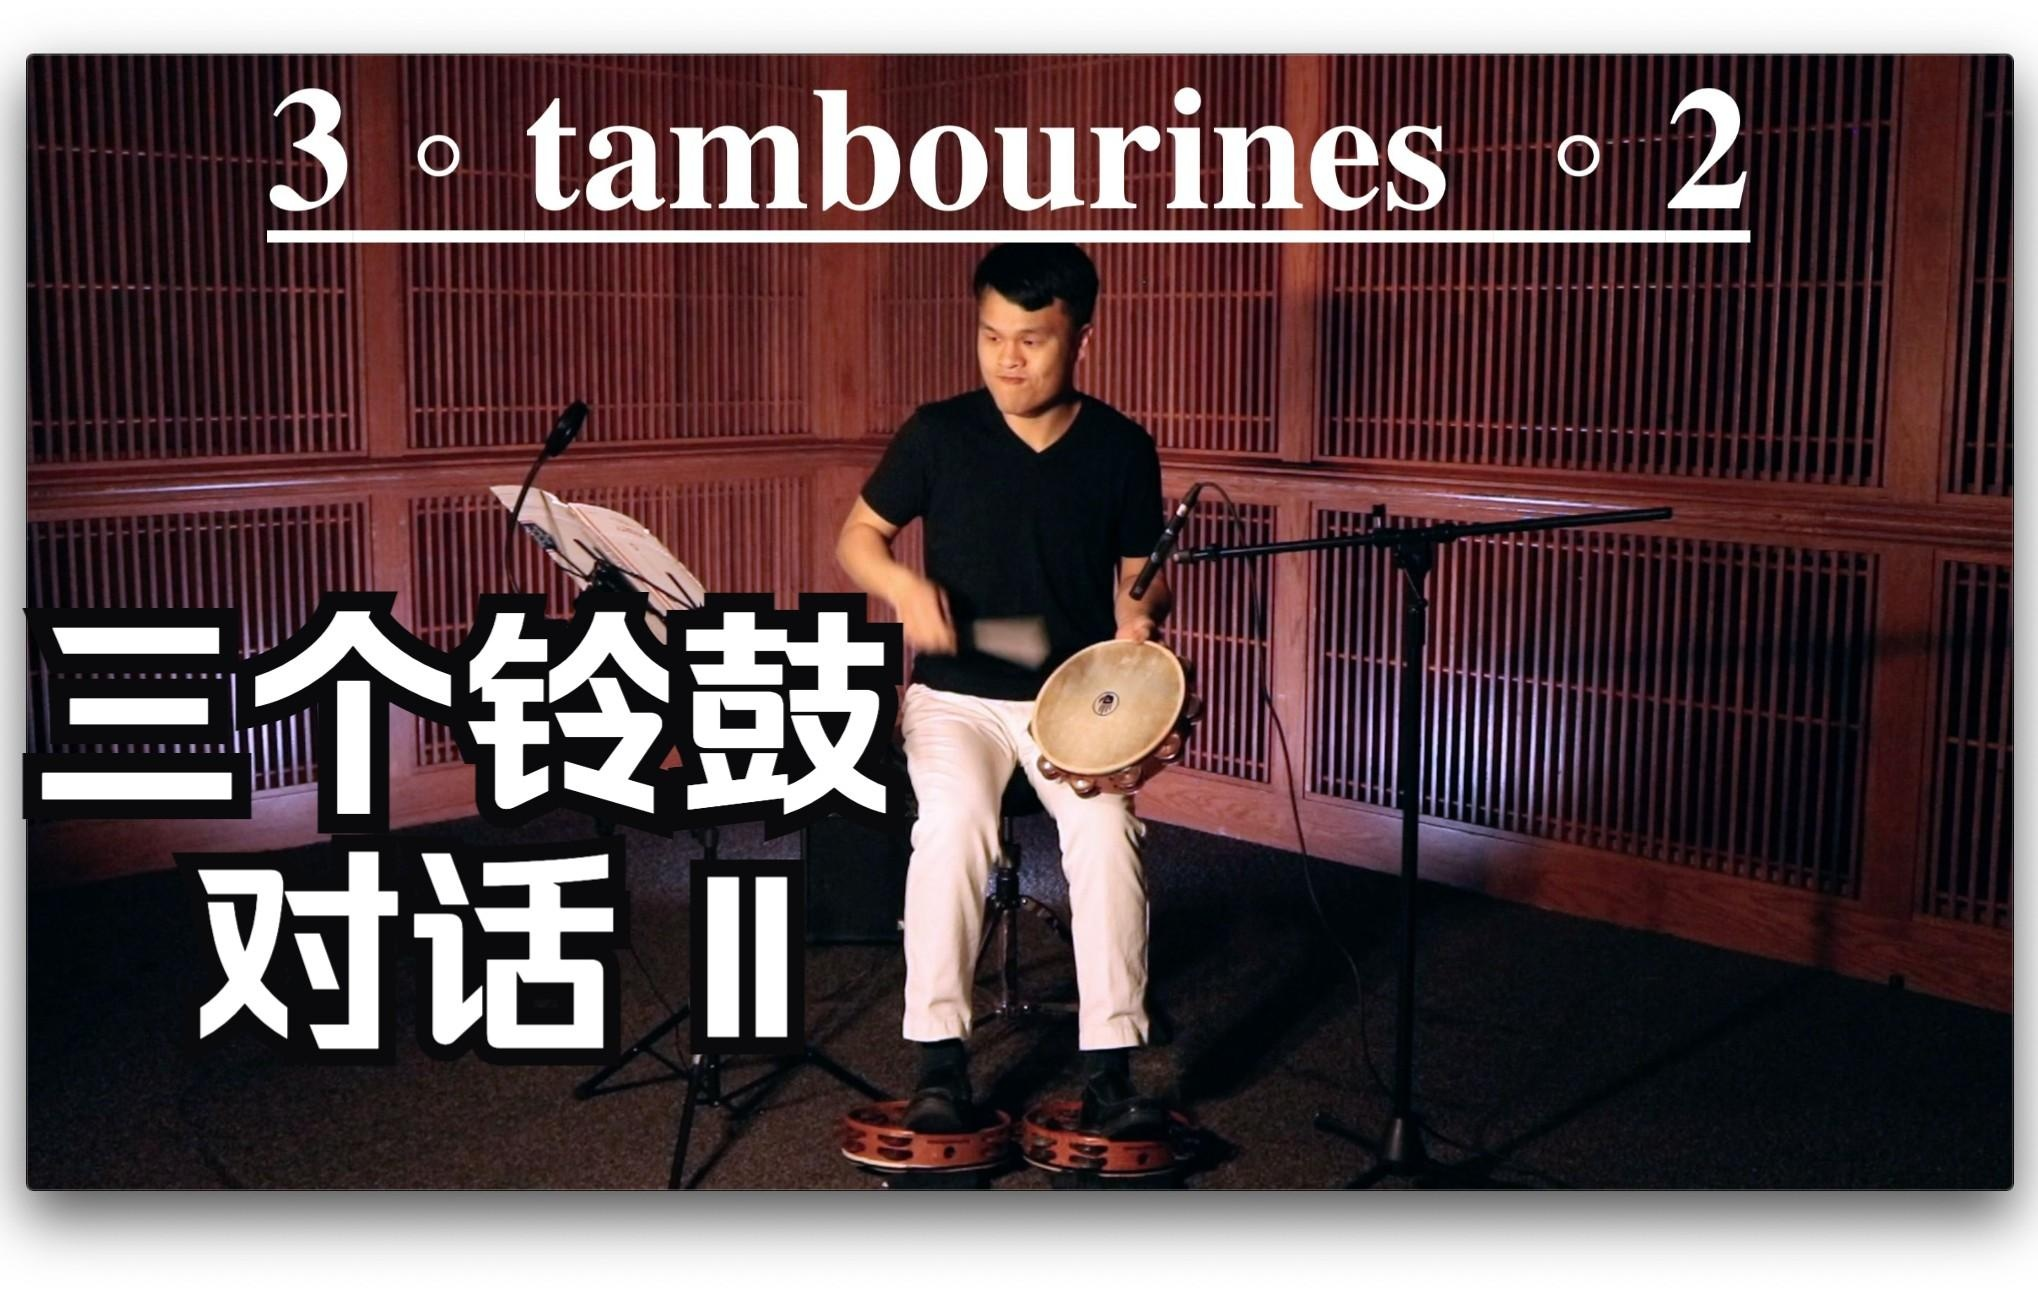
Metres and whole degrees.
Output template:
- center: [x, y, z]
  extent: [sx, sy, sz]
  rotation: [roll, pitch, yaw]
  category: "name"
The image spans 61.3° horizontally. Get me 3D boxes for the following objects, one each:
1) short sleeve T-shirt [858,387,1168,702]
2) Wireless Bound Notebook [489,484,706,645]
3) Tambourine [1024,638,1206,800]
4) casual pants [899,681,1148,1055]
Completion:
- center: [-0.004, -0.194, 3.523]
  extent: [0.722, 0.676, 0.372]
  rotation: [1, 8, -1]
  category: "short sleeve T-shirt"
- center: [-0.806, -0.173, 3.358]
  extent: [0.397, 0.273, 0.214]
  rotation: [-3, 4, -24]
  category: "Wireless Bound Notebook"
- center: [0.204, 0.134, 3.351]
  extent: [0.303, 0.331, 0.079]
  rotation: [-15, -35, 9]
  category: "Tambourine"
- center: [0.002, 0.428, 3.442]
  extent: [0.466, 0.694, 0.331]
  rotation: [-1, 4, -3]
  category: "casual pants"
